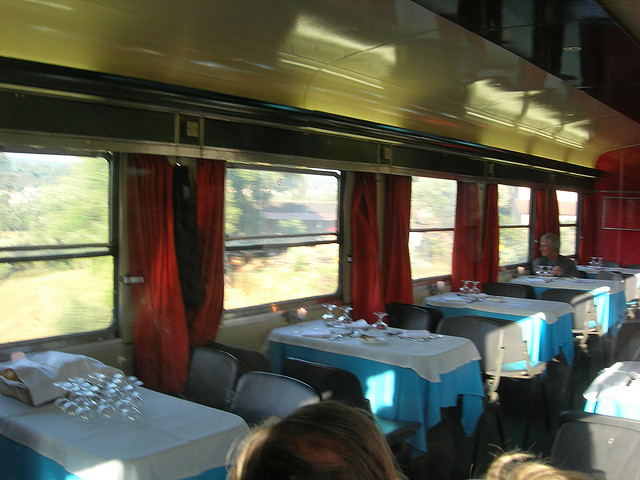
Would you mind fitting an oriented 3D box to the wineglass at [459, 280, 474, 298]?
[{"bbox_3d":[2.034,0.674,6.322,0.239,0.210,0.240,-3,5,-37],"label":"wineglass"}]

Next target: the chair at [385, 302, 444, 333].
[{"bbox_3d":[1.092,0.831,5.097,0.494,0.453,0.433,1,1,-40],"label":"chair"}]

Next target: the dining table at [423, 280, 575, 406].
[{"bbox_3d":[2.241,1.166,5.522,1.724,0.930,1.191,-1,-4,41],"label":"dining table"}]

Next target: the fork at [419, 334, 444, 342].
[{"bbox_3d":[0.991,0.873,4.074,0.023,0.026,0.303,-1,1,43],"label":"fork"}]

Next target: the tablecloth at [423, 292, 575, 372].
[{"bbox_3d":[2.265,1.010,5.545,1.307,0.462,0.873,6,-3,39],"label":"tablecloth"}]

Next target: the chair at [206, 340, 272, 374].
[{"bbox_3d":[-0.645,0.965,3.758,0.275,0.294,0.292,7,9,44],"label":"chair"}]

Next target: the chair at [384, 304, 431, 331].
[{"bbox_3d":[0.981,0.840,5.010,0.344,0.330,0.332,-4,-9,43],"label":"chair"}]

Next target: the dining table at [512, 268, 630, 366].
[{"bbox_3d":[3.653,1.023,6.243,1.370,0.574,1.223,5,9,44],"label":"dining table"}]

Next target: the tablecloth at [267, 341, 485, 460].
[{"bbox_3d":[0.577,1.200,3.723,1.399,0.546,1.206,-1,-3,41],"label":"tablecloth"}]

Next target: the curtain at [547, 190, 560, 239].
[{"bbox_3d":[4.152,-0.460,7.997,0.089,0.841,0.203,0,3,-3],"label":"curtain"}]

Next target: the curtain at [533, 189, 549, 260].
[{"bbox_3d":[4.286,-0.391,8.767,0.336,1.190,0.102,-9,11,-15],"label":"curtain"}]

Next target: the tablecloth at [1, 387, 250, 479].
[{"bbox_3d":[-1.018,1.009,2.411,1.070,0.259,0.656,-1,3,33],"label":"tablecloth"}]

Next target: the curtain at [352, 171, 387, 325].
[{"bbox_3d":[0.564,-0.005,5.608,0.506,1.929,0.249,-12,-16,41],"label":"curtain"}]
